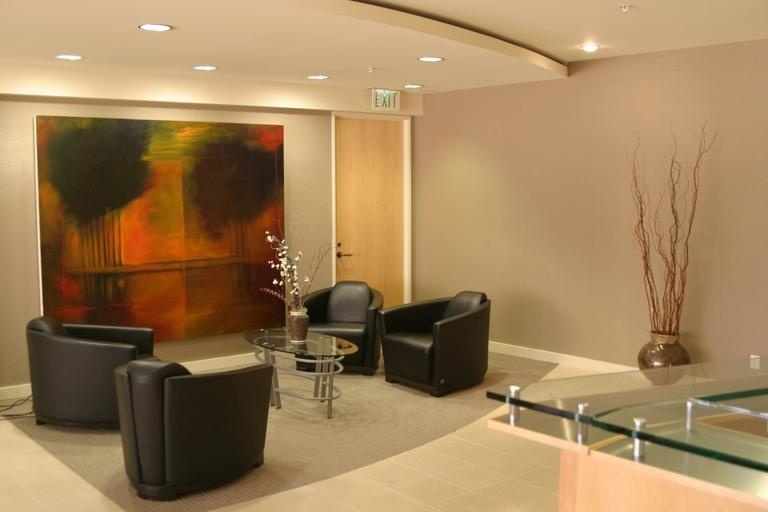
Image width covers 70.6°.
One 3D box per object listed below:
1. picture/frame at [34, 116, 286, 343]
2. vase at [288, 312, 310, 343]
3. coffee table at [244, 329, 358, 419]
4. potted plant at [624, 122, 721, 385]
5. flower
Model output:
[{"bbox_3d":[-2.564,-0.275,6.544,0.113,2.503,3.119,4,7,33],"label":"picture/frame"},{"bbox_3d":[-0.922,0.719,5.557,0.247,0.301,0.235,3,-7,-16],"label":"vase"},{"bbox_3d":[-0.755,1.227,5.703,0.834,0.654,1.414,1,-14,3],"label":"coffee table"},{"bbox_3d":[3.077,-0.123,5.886,0.786,2.556,0.964,4,10,18],"label":"potted plant"},{"bbox_3d":[-0.869,0.219,6.720,1.182,1.142,0.657,6,2,-21],"label":"flower"}]
